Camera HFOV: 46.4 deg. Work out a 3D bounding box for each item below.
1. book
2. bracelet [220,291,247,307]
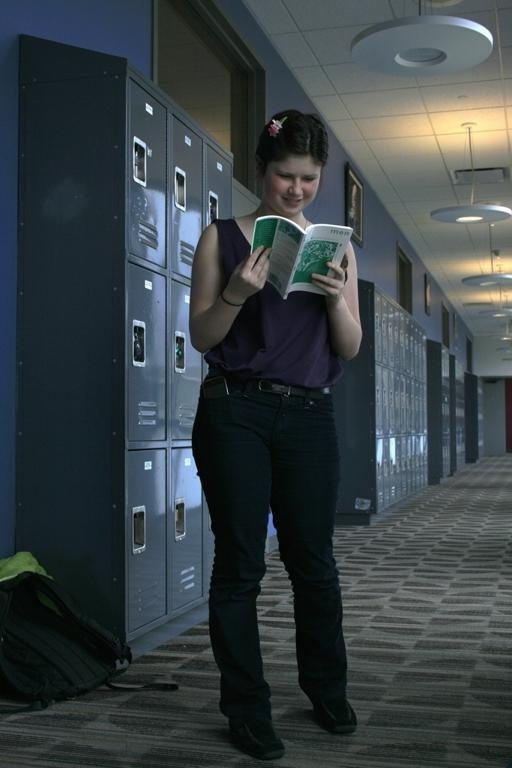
[{"bbox_3d":[0.078,-0.221,1.070,0.187,0.110,0.182,-1,-5,-19],"label":"book"},{"bbox_3d":[-0.046,-0.162,1.140,0.038,0.026,0.029,-1,-5,-10],"label":"bracelet"}]
